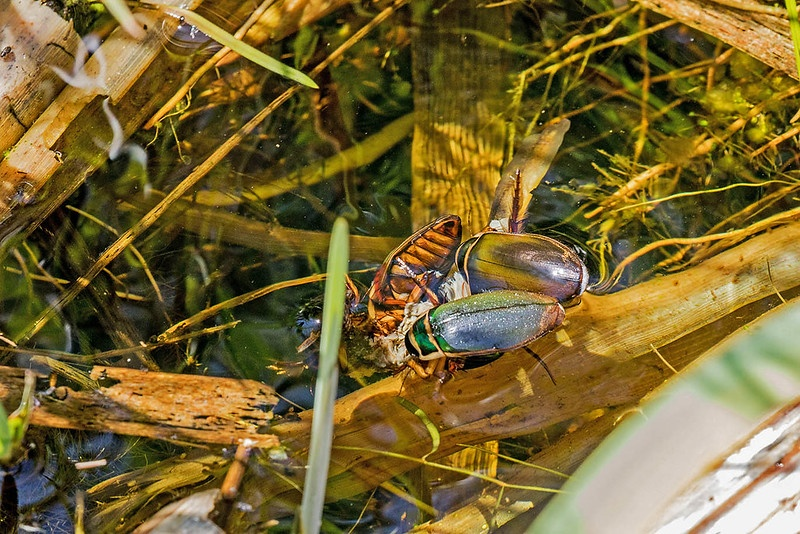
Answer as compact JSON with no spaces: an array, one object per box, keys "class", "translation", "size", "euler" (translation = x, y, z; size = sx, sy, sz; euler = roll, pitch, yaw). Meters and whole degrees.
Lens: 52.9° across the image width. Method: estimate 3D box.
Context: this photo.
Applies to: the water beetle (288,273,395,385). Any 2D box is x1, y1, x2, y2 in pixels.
[{"class":"water beetle","translation":[-0.119,0.187,2.162],"size":[0.259,0.072,0.282],"euler":[12,74,11]}]
